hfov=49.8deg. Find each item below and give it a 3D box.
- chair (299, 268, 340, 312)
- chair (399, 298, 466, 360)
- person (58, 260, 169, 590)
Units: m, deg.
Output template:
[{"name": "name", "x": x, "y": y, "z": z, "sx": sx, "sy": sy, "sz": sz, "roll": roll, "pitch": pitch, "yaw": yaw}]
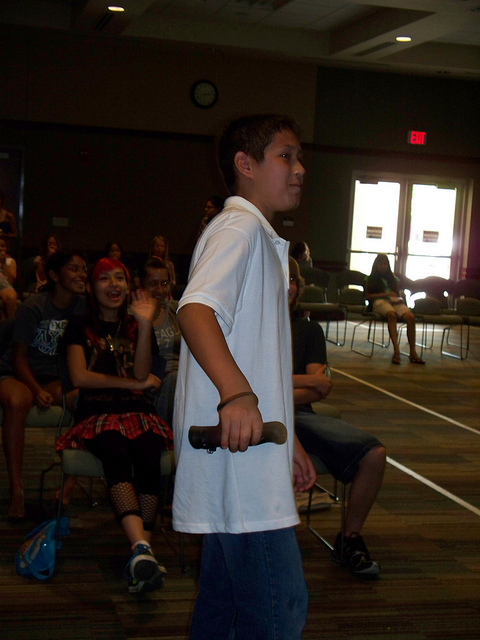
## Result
[{"name": "chair", "x": 1.396, "y": -0.474, "z": 9.682, "sx": 0.700, "sy": 1.068, "sz": 0.769, "roll": 7, "pitch": 14, "yaw": 18}, {"name": "chair", "x": 3.217, "y": 0.046, "z": 8.496, "sx": 0.665, "sy": 0.821, "sz": 0.767, "roll": -4, "pitch": 4, "yaw": -8}, {"name": "person", "x": -0.513, "y": 0.367, "z": 2.147, "sx": 0.447, "sy": 1.276, "sz": 1.036, "roll": 2, "pitch": 2, "yaw": -13}]
